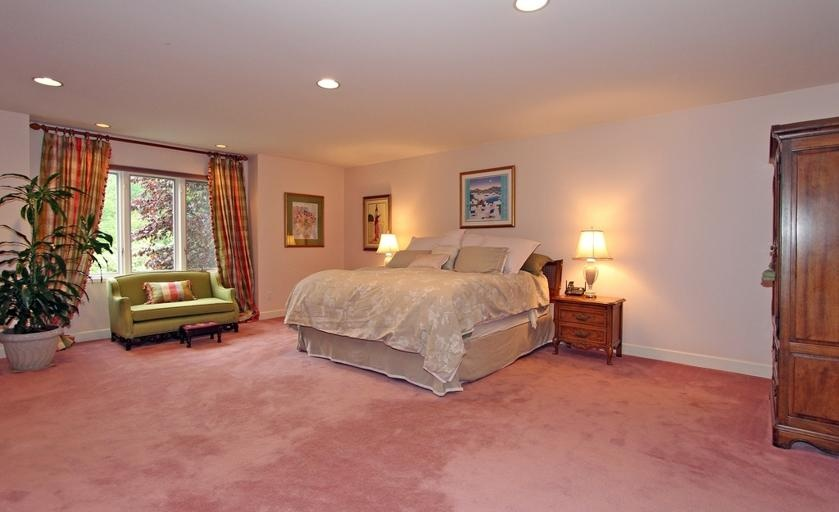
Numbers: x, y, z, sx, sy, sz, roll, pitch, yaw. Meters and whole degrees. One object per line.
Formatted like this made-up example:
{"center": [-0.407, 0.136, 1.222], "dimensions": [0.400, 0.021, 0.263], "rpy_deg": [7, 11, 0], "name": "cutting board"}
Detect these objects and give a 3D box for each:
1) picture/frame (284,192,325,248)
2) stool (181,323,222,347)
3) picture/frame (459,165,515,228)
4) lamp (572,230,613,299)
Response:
{"center": [-2.049, -0.649, 8.643], "dimensions": [0.092, 1.210, 1.083], "rpy_deg": [3, 1, 44], "name": "picture/frame"}
{"center": [-3.020, 1.054, 6.847], "dimensions": [0.495, 0.290, 0.495], "rpy_deg": [-7, 12, -32], "name": "stool"}
{"center": [1.042, -0.907, 7.397], "dimensions": [1.053, 0.974, 0.041], "rpy_deg": [1, 2, 37], "name": "picture/frame"}
{"center": [2.241, 0.075, 6.405], "dimensions": [0.444, 0.834, 0.495], "rpy_deg": [4, 12, 18], "name": "lamp"}
